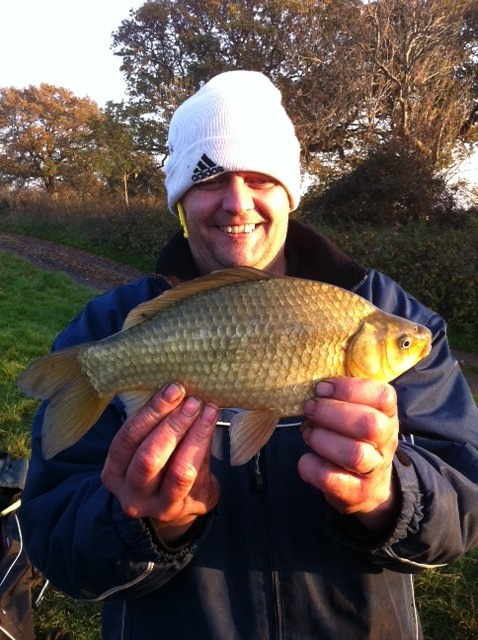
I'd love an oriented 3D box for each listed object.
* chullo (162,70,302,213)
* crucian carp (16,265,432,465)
[{"bbox_3d":[-0.063,-0.940,3.025,0.664,0.629,0.749,-9,13,-36],"label":"chullo"},{"bbox_3d":[-0.042,0.158,2.059,1.478,0.655,0.259,1,17,-3],"label":"crucian carp"}]
